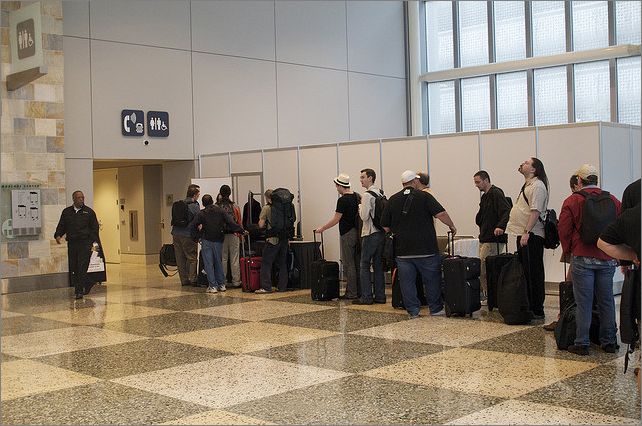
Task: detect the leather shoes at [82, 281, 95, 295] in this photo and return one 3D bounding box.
[{"bbox_3d":[-4.919,1.563,11.590,0.197,0.467,0.158,1,34,-23],"label":"leather shoes"}]

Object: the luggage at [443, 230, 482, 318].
[{"bbox_3d":[2.233,1.178,8.647,0.589,0.950,0.383,-1,2,13],"label":"luggage"}]

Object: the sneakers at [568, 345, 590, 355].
[{"bbox_3d":[3.102,1.643,6.575,0.208,0.142,0.090,9,11,44],"label":"sneakers"}]

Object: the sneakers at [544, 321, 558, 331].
[{"bbox_3d":[3.230,1.592,7.714,0.094,0.106,0.254,1,-1,-19],"label":"sneakers"}]

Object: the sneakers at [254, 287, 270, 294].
[{"bbox_3d":[-1.187,1.600,11.179,0.326,0.142,0.119,5,-2,-3],"label":"sneakers"}]

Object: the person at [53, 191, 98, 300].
[{"bbox_3d":[-5.022,0.652,11.234,0.763,2.173,0.520,-1,2,14],"label":"person"}]

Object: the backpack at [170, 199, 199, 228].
[{"bbox_3d":[-3.105,0.037,12.177,0.442,0.669,0.690,0,-3,26],"label":"backpack"}]

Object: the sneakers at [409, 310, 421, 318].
[{"bbox_3d":[1.512,1.620,8.746,0.137,0.135,0.093,7,5,40],"label":"sneakers"}]

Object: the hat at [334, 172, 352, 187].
[{"bbox_3d":[0.381,-0.655,10.101,0.242,0.104,0.273,13,19,-35],"label":"hat"}]

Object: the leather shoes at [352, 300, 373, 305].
[{"bbox_3d":[0.748,1.612,9.794,0.341,0.139,0.124,4,-4,14],"label":"leather shoes"}]

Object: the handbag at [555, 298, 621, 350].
[{"bbox_3d":[3.258,1.372,6.670,0.770,0.729,0.403,1,6,-1],"label":"handbag"}]

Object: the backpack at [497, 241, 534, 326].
[{"bbox_3d":[2.869,1.144,8.067,0.488,1.015,0.237,-1,2,14],"label":"backpack"}]

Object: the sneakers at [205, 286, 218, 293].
[{"bbox_3d":[-2.305,1.608,11.523,0.249,0.147,0.303,-2,3,-10],"label":"sneakers"}]

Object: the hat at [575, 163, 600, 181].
[{"bbox_3d":[3.326,-0.518,6.822,0.219,0.160,0.297,2,14,7],"label":"hat"}]

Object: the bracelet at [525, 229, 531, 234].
[{"bbox_3d":[3.080,0.279,8.127,0.061,0.042,0.065,3,-4,-13],"label":"bracelet"}]

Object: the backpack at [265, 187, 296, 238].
[{"bbox_3d":[-0.800,0.023,10.992,0.536,1.000,0.437,-2,2,-7],"label":"backpack"}]

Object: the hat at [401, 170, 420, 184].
[{"bbox_3d":[1.467,-0.615,8.981,0.284,0.159,0.214,-26,23,-29],"label":"hat"}]

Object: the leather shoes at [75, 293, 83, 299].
[{"bbox_3d":[-4.895,1.684,11.081,0.121,0.128,0.158,1,4,44],"label":"leather shoes"}]

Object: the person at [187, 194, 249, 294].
[{"bbox_3d":[-2.329,0.646,11.789,1.031,2.053,0.730,1,3,43],"label":"person"}]
